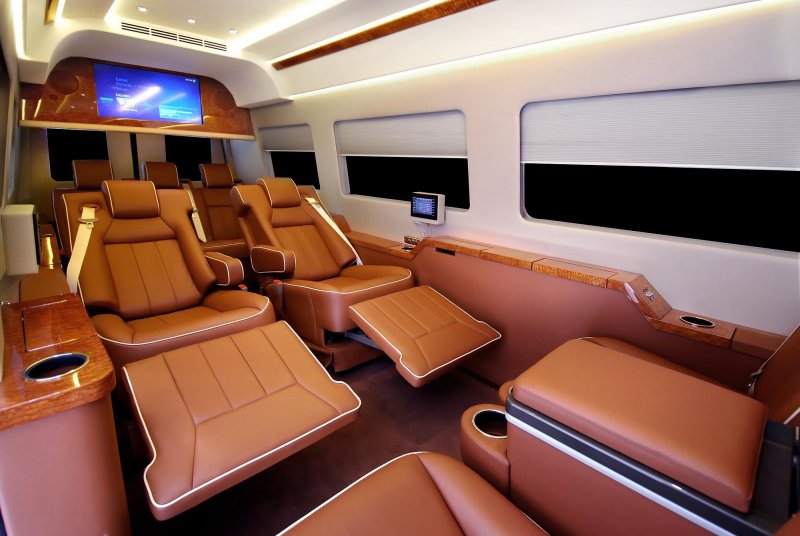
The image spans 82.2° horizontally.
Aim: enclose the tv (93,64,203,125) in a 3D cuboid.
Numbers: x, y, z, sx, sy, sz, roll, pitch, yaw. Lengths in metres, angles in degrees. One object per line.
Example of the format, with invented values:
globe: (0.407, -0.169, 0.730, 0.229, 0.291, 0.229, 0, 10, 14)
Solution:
tv: (-2.579, -1.794, 4.748, 0.178, 0.558, 1.015, 9, 19, 41)
